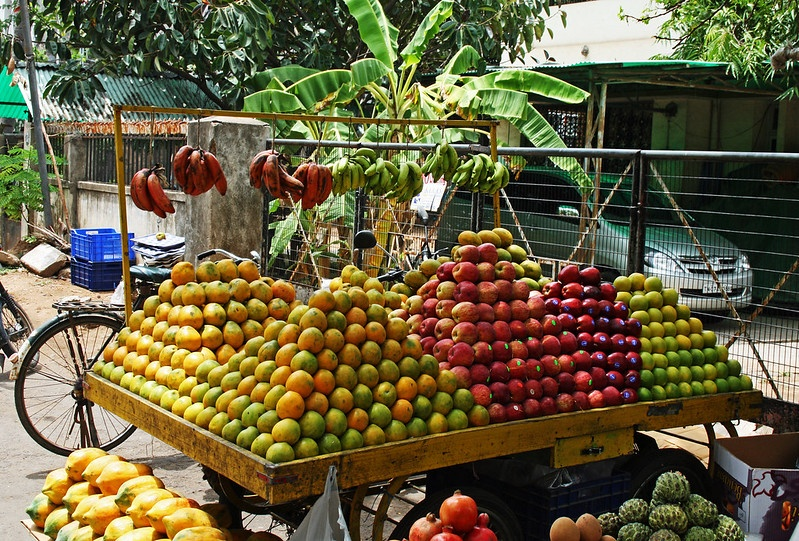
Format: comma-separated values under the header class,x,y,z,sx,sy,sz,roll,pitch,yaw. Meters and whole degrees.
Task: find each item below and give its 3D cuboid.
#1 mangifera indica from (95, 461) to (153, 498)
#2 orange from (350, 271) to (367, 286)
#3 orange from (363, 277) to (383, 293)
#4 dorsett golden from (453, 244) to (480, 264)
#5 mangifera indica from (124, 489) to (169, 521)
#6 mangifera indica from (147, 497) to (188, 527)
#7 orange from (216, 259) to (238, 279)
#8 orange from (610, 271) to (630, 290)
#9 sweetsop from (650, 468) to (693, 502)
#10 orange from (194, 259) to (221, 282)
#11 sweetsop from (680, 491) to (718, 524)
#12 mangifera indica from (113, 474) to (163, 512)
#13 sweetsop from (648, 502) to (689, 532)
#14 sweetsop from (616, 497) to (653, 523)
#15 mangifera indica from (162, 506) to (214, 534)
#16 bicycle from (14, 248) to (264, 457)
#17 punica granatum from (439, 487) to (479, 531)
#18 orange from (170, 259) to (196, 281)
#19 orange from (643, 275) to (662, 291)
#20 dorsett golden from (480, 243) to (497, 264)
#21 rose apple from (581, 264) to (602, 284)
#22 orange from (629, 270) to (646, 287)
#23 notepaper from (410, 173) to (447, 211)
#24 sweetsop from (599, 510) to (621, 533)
class,x,y,z,sx,sy,sz,roll,pitch,yaw
mangifera indica,-1.920,1.419,4.892,0.333,0.213,0.195,-5,16,-18
orange,-0.291,0.055,5.289,0.109,0.116,0.111,28,26,32
orange,-0.190,0.102,5.127,0.098,0.134,0.111,1,33,24
dorsett golden,0.518,-0.120,5.317,0.154,0.151,0.140,0,-9,-4
mangifera indica,-1.659,1.507,4.609,0.246,0.170,0.166,-19,5,-21
mangifera indica,-1.491,1.543,4.511,0.233,0.150,0.142,-8,-6,-12
orange,-1.384,0.003,5.518,0.131,0.183,0.150,-1,21,39
orange,1.812,0.105,5.740,0.108,0.147,0.116,-15,16,8
sweetsop,1.522,1.208,3.925,0.169,0.173,0.151,-16,-2,16
orange,-1.495,-0.008,5.482,0.151,0.173,0.155,4,6,22
sweetsop,1.658,1.320,3.868,0.129,0.110,0.160,17,7,-10
mangifera indica,-1.766,1.484,4.732,0.281,0.192,0.191,-7,6,-21
sweetsop,1.454,1.331,3.769,0.143,0.128,0.148,4,-22,-13
sweetsop,1.305,1.317,3.879,0.131,0.135,0.123,-2,4,12
mangifera indica,-1.332,1.574,4.429,0.269,0.165,0.159,6,37,-35
bicycle,-2.895,0.958,7.820,1.392,2.022,3.088,-8,-6,22
punica granatum,0.320,1.321,3.815,0.162,0.193,0.175,3,15,9
orange,-1.702,0.006,5.515,0.146,0.163,0.146,-15,21,-1
orange,2.069,0.099,5.720,0.112,0.147,0.120,-17,16,19
dorsett golden,0.673,-0.122,5.278,0.120,0.145,0.131,12,8,44
rose apple,1.513,0.036,5.519,0.132,0.149,0.129,-10,10,-10
orange,1.941,0.075,5.697,0.105,0.142,0.113,-9,-5,-2
notepaper,0.345,-1.058,9.425,0.139,0.579,0.583,18,-2,-41
sweetsop,1.179,1.391,3.913,0.103,0.113,0.088,-14,22,-31
